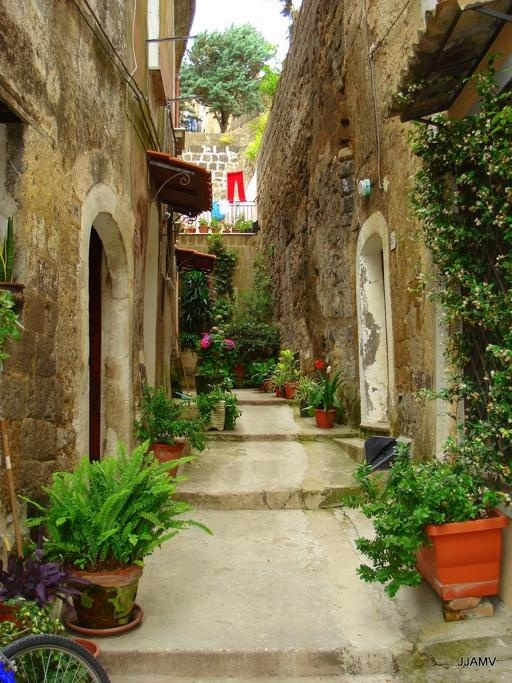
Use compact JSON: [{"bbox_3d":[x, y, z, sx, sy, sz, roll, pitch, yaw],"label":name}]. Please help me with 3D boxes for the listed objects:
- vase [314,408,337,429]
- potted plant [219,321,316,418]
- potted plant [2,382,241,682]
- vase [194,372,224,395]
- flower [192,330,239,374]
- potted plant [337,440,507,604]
[{"bbox_3d":[0.882,0.964,7.189,0.272,0.238,0.346,-2,2,0],"label":"vase"},{"bbox_3d":[0.227,0.549,12.759,1.515,1.333,1.331,1,1,-21],"label":"potted plant"},{"bbox_3d":[-0.565,0.802,2.091,0.831,0.808,0.626,-2,-5,22],"label":"potted plant"},{"bbox_3d":[-0.714,0.602,8.391,0.280,0.249,0.315,1,5,2],"label":"vase"},{"bbox_3d":[-0.610,0.199,8.721,0.706,0.885,0.604,-3,0,-3],"label":"flower"},{"bbox_3d":[0.766,0.878,2.590,0.691,0.629,0.460,-2,2,2],"label":"potted plant"}]
